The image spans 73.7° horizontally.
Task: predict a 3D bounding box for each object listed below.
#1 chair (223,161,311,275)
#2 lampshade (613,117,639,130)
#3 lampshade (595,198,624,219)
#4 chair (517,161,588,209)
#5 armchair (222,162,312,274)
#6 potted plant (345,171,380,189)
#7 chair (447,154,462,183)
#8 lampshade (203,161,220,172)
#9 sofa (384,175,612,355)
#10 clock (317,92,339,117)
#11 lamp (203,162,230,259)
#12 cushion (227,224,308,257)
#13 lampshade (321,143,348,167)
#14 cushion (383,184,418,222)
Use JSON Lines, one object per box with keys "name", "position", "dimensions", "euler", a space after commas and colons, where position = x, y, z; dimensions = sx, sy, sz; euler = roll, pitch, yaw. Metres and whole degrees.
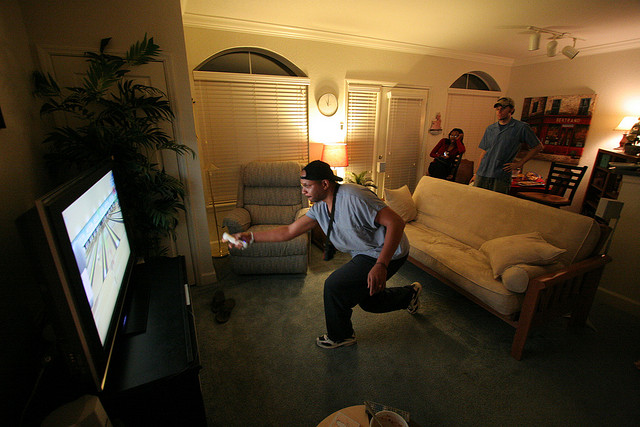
{"name": "chair", "position": [-0.614, 0.011, 5.203], "dimensions": [1.048, 1.212, 1.270], "euler": [-2, 12, -10]}
{"name": "lampshade", "position": [4.533, -1.333, 6.338], "dimensions": [0.250, 0.207, 0.183], "euler": [19, 26, 36]}
{"name": "lampshade", "position": [2.770, -0.045, 4.095], "dimensions": [0.187, 0.192, 0.100], "euler": [13, 23, 24]}
{"name": "chair", "position": [3.395, -0.405, 6.185], "dimensions": [0.612, 0.978, 0.556], "euler": [-5, 18, -22]}
{"name": "armchair", "position": [-0.596, 0.012, 5.225], "dimensions": [1.056, 1.206, 1.288], "euler": [-2, 13, -13]}
{"name": "potted plant", "position": [0.630, -0.522, 6.456], "dimensions": [0.384, 0.396, 0.387], "euler": [0, 6, -2]}
{"name": "chair", "position": [2.065, -0.718, 6.560], "dimensions": [0.148, 0.456, 0.323], "euler": [19, 10, 17]}
{"name": "lampshade", "position": [-1.348, -0.610, 5.300], "dimensions": [0.160, 0.110, 0.160], "euler": [-6, 14, -18]}
{"name": "sofa", "position": [1.848, 0.475, 4.574], "dimensions": [1.085, 1.236, 1.791], "euler": [-13, 26, -37]}
{"name": "clock", "position": [0.134, -1.599, 6.271], "dimensions": [0.355, 0.346, 0.083], "euler": [-14, 27, -39]}
{"name": "lamp", "position": [-1.403, -0.123, 5.739], "dimensions": [0.274, 1.174, 0.271], "euler": [-10, -5, 11]}
{"name": "cushion", "position": [-0.662, 0.340, 5.240], "dimensions": [0.965, 0.656, 0.696], "euler": [0, -4, -10]}
{"name": "lampshade", "position": [0.202, -0.865, 6.077], "dimensions": [0.361, 0.371, 0.356], "euler": [-8, 20, -21]}
{"name": "cushion", "position": [1.027, -0.131, 5.311], "dimensions": [0.126, 0.425, 0.436], "euler": [-27, -8, 41]}
